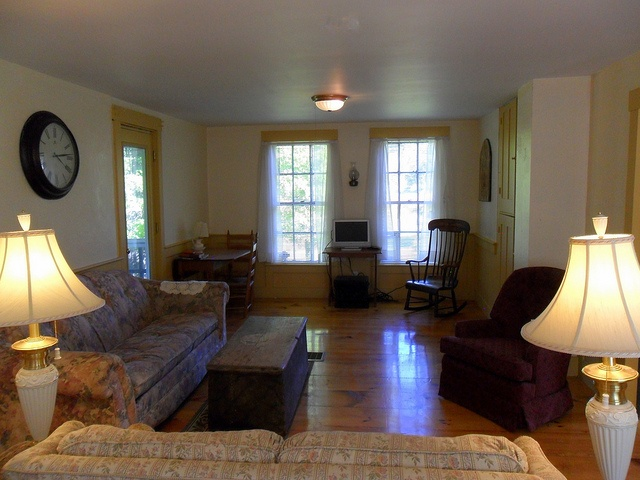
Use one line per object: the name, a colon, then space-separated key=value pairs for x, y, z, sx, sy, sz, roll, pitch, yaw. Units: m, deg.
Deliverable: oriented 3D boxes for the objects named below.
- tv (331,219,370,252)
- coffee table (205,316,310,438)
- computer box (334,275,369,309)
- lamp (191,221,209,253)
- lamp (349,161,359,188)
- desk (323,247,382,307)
tv: x=0.429 y=-0.087 z=7.011 sx=0.521 sy=0.388 sz=0.149 roll=-1 pitch=10 yaw=-1
coffee table: x=-0.480 y=0.821 z=3.872 sx=0.522 sy=0.535 sz=1.077 roll=0 pitch=5 yaw=5
computer box: x=0.407 y=0.692 z=6.812 sx=0.387 sy=0.328 sz=0.412 roll=0 pitch=0 yaw=1
lamp: x=-1.490 y=-0.021 z=6.319 sx=0.186 sy=0.369 sz=0.524 roll=-3 pitch=10 yaw=-15
lamp: x=0.467 y=-0.905 z=7.068 sx=0.131 sy=0.336 sz=0.076 roll=0 pitch=10 yaw=2
desk: x=0.407 y=0.633 z=7.057 sx=0.936 sy=0.982 sz=0.682 roll=0 pitch=0 yaw=1
